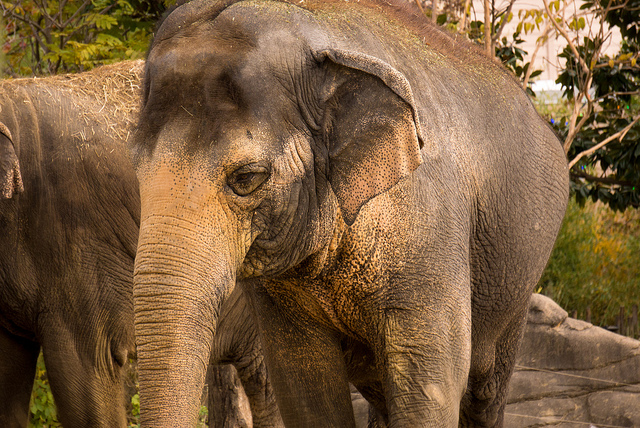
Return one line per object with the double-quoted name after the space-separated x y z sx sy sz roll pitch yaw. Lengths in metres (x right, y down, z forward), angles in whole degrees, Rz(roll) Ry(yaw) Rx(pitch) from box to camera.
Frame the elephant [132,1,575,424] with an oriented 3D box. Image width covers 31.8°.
0.186 0.052 5.582 1.442 2.115 2.359 -1 -9 42 "elephant"
